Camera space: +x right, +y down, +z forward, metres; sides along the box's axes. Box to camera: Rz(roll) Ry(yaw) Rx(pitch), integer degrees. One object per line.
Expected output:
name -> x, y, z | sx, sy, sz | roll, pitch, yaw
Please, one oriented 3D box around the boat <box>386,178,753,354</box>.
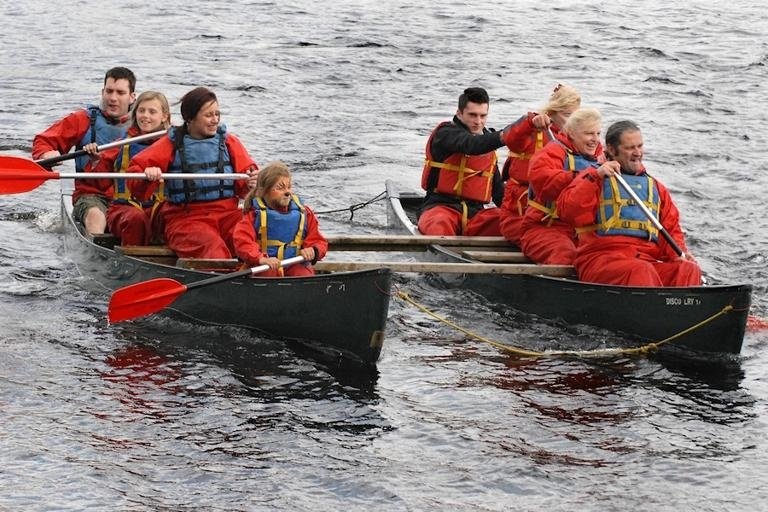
boat -> 2.082, 0.206, 13.028 | 4.956, 0.619, 1.142 | 17, 16, 33
